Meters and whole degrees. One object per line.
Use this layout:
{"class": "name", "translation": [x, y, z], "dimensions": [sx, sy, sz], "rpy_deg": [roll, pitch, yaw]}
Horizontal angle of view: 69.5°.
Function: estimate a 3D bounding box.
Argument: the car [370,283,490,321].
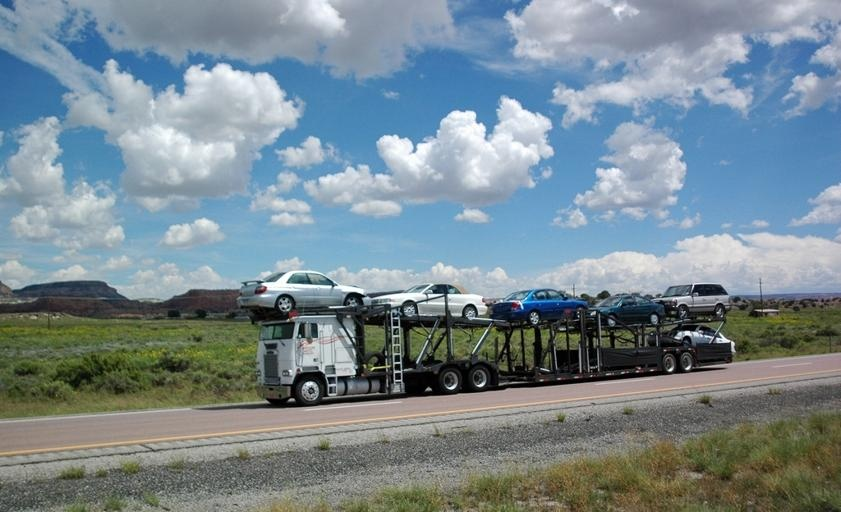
{"class": "car", "translation": [0.568, 2.095, 27.378], "dimensions": [5.468, 1.611, 1.140], "rpy_deg": [1, -3, -33]}
